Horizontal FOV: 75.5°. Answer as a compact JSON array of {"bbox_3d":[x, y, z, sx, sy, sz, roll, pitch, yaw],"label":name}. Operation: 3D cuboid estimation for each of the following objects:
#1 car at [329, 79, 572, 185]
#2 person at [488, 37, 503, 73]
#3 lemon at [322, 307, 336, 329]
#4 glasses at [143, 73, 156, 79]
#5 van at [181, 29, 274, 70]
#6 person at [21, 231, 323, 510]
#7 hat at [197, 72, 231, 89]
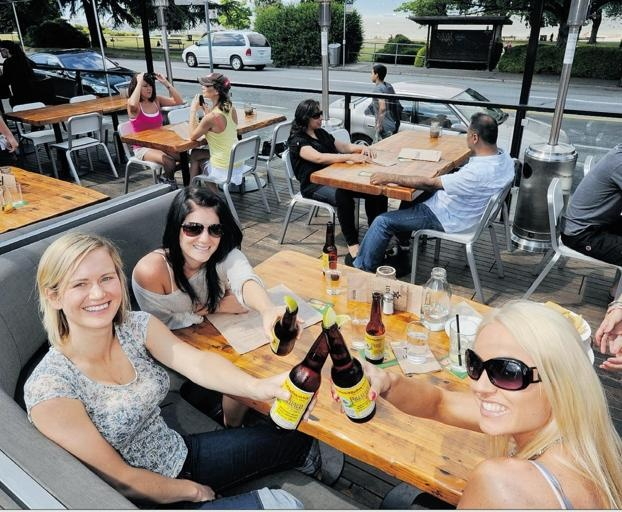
[{"bbox_3d":[1.826,-2.020,6.463,3.563,0.945,1.335,8,37,18],"label":"car"},{"bbox_3d":[11.888,-13.019,25.918,1.283,1.686,0.462,-2,18,-38],"label":"person"},{"bbox_3d":[0.051,0.184,1.189,0.030,0.067,0.050,4,32,-5],"label":"lemon"},{"bbox_3d":[-2.331,-2.646,5.897,0.091,0.094,0.254,5,28,4],"label":"glasses"},{"bbox_3d":[-4.976,-12.051,23.592,5.228,2.153,3.560,14,29,29],"label":"van"},{"bbox_3d":[-0.722,0.428,1.891,1.684,1.022,0.881,3,23,-4],"label":"person"},{"bbox_3d":[-1.240,-2.275,5.200,0.400,0.124,0.215,5,35,-9],"label":"hat"}]
